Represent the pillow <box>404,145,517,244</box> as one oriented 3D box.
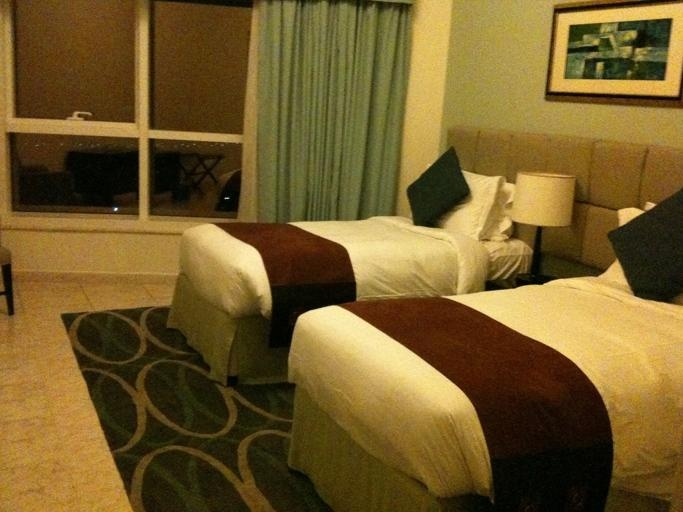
[{"bbox_3d":[0.836,-0.413,4.204,0.779,0.669,0.240,-16,-21,40],"label":"pillow"}]
